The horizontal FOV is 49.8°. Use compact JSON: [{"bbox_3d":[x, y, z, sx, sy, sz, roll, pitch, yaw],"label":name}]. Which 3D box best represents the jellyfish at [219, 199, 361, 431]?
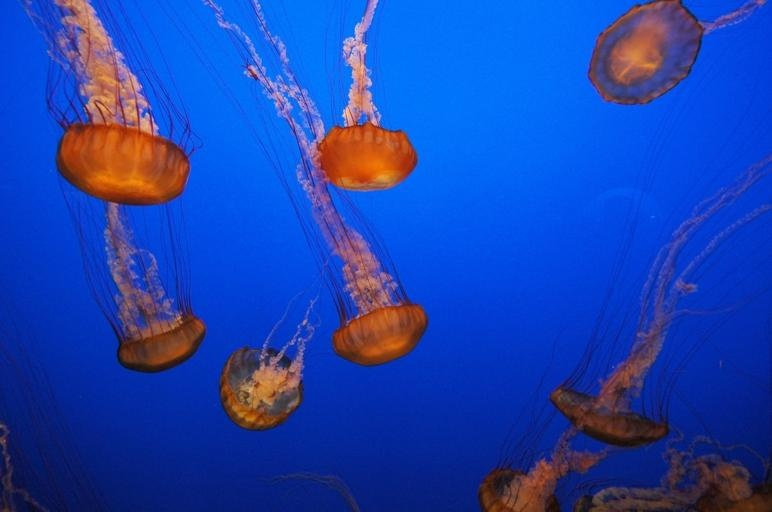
[{"bbox_3d":[-0.863,0.509,4.742,0.643,0.657,1.137,7,-64,-28],"label":"jellyfish"}]

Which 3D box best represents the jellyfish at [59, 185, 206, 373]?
[{"bbox_3d":[-1.482,0.110,4.667,0.418,0.499,1.165,-19,-100,7],"label":"jellyfish"}]
